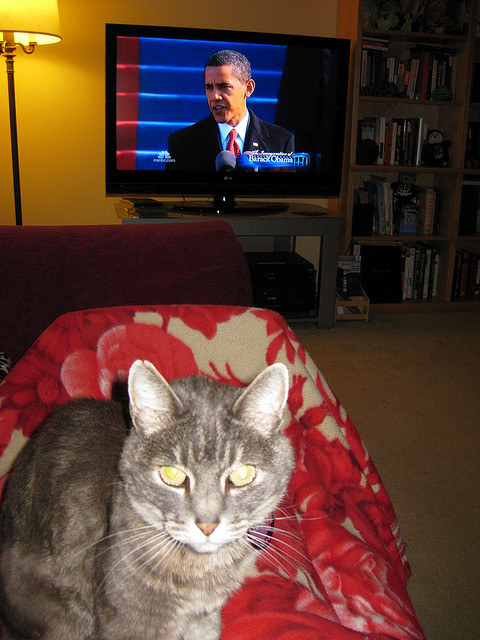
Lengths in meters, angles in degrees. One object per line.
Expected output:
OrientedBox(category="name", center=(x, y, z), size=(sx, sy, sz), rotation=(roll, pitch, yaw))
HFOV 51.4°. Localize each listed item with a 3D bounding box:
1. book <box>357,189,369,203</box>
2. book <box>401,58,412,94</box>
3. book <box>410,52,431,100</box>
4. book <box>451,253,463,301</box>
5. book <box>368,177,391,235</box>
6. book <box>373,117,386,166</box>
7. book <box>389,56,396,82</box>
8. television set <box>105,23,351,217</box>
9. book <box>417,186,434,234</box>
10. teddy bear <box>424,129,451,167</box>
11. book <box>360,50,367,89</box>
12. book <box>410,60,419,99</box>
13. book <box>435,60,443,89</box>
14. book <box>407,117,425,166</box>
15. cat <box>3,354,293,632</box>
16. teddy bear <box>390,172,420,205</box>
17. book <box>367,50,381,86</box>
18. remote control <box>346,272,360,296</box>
OrientedBox(category="book", center=(0.762, -0.735, 2.992), size=(0.083, 0.087, 0.047), rotation=(6, 28, 14))
OrientedBox(category="book", center=(0.954, -1.374, 2.796), size=(0.048, 0.185, 0.043), rotation=(1, 15, -3))
OrientedBox(category="book", center=(1.069, -1.419, 2.881), size=(0.070, 0.205, 0.210), rotation=(-2, 26, 8))
OrientedBox(category="book", center=(1.377, -0.270, 3.094), size=(0.050, 0.227, 0.213), rotation=(5, 7, 11))
OrientedBox(category="book", center=(0.838, -0.657, 2.906), size=(0.044, 0.294, 0.255), rotation=(-12, 23, -8))
OrientedBox(category="book", center=(0.809, -1.008, 2.804), size=(0.059, 0.264, 0.135), rotation=(6, 15, 16))
OrientedBox(category="book", center=(0.865, -1.385, 2.748), size=(0.040, 0.128, 0.028), rotation=(-4, 16, -21))
OrientedBox(category="television set", center=(-0.077, -1.052, 2.564), size=(1.017, 0.760, 0.294), rotation=(0, 22, -6))
OrientedBox(category="book", center=(1.138, -0.669, 3.023), size=(0.061, 0.272, 0.148), rotation=(-2, 15, -14))
OrientedBox(category="teddy bear", center=(1.188, -1.008, 2.913), size=(0.162, 0.204, 0.101), rotation=(-5, 16, -23))
OrientedBox(category="book", center=(0.687, -1.355, 2.687), size=(0.037, 0.193, 0.023), rotation=(-1, 15, -11))
OrientedBox(category="book", center=(1.003, -1.355, 2.791), size=(0.036, 0.167, 0.163), rotation=(9, 7, 8))
OrientedBox(category="book", center=(1.148, -1.391, 2.799), size=(0.024, 0.110, 0.105), rotation=(5, -5, 9))
OrientedBox(category="book", center=(1.040, -1.037, 2.888), size=(0.096, 0.267, 0.070), rotation=(11, 17, 31))
OrientedBox(category="cat", center=(-0.086, 0.101, 0.429), size=(0.215, 0.213, 0.155), rotation=(21, 10, 36))
OrientedBox(category="teddy bear", center=(1.025, -0.798, 3.014), size=(0.182, 0.188, 0.154), rotation=(4, 15, 9))
OrientedBox(category="book", center=(0.748, -1.376, 2.696), size=(0.087, 0.176, 0.028), rotation=(-2, 15, -15))
OrientedBox(category="remote control", center=(0.660, -0.204, 2.825), size=(0.087, 0.134, 0.019), rotation=(-3, 15, -17))
